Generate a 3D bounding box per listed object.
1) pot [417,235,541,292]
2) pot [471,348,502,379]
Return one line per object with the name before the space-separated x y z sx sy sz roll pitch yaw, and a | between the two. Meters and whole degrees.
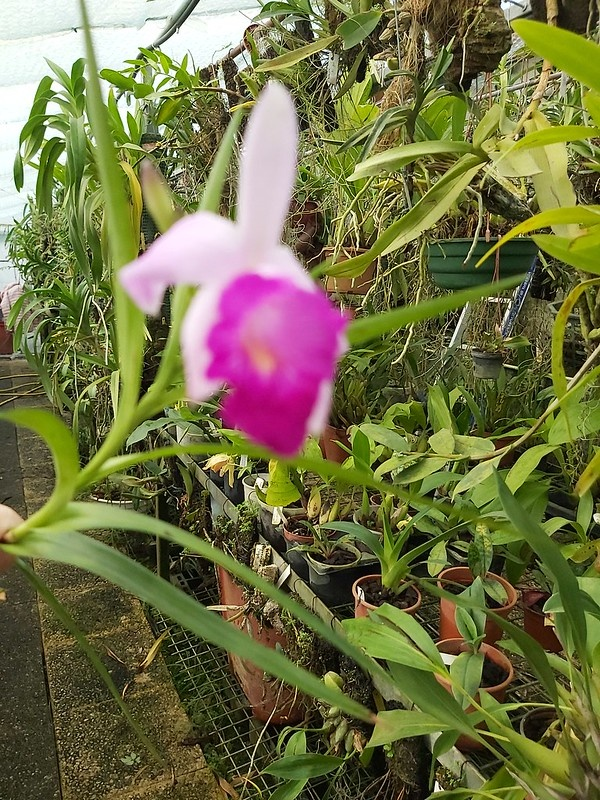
pot | 0.279 -0.208 0.913 0.143 0.088 0.172 -6 25 -11
pot | 0.385 -0.072 1.237 0.065 0.047 0.063 1 12 0
